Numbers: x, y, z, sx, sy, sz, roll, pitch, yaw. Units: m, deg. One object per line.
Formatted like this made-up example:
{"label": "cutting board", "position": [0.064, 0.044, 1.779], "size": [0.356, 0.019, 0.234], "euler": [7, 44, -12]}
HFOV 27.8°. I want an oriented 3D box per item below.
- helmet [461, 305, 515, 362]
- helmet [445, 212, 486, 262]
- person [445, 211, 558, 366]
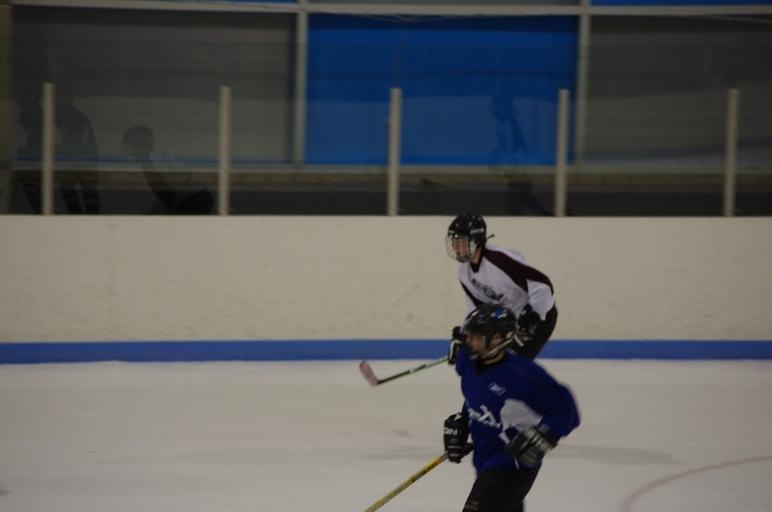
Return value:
{"label": "helmet", "position": [0.707, 0.541, 10.820], "size": [0.382, 0.374, 0.294], "euler": [1, 8, -11]}
{"label": "helmet", "position": [0.664, -0.166, 12.276], "size": [0.256, 0.427, 0.381], "euler": [-2, 17, 4]}
{"label": "person", "position": [0.903, 0.281, 12.425], "size": [0.758, 1.377, 0.657], "euler": [-32, 21, 1]}
